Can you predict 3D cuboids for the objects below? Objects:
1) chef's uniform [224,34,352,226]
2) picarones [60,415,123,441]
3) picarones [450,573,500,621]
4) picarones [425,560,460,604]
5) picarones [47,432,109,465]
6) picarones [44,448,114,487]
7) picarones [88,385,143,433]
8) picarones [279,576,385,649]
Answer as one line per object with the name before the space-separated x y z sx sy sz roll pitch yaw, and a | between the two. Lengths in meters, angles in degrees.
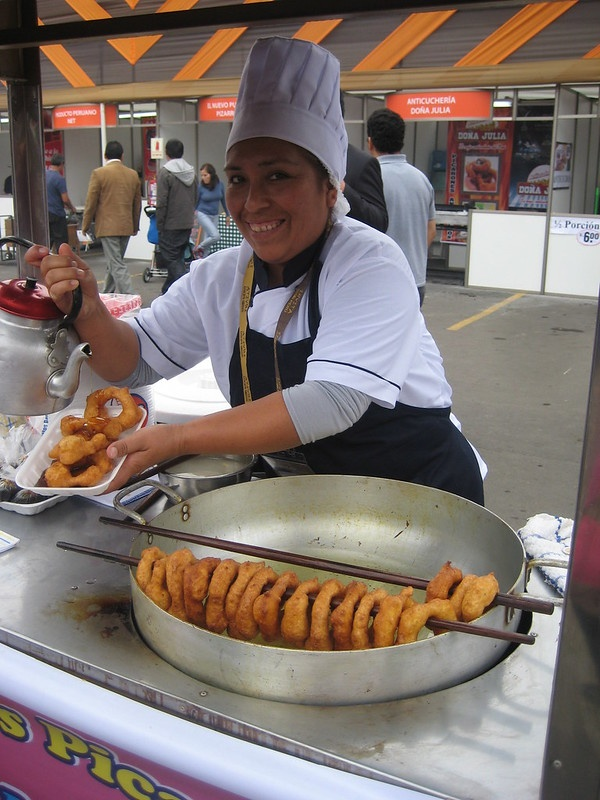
chef's uniform | -0.032 -0.605 1.486 0.320 0.279 0.253 -6 12 -41
picarones | -0.427 0.058 1.318 0.084 0.029 0.062 5 -6 -43
picarones | 0.237 0.259 0.933 0.071 0.068 0.026 -34 56 -32
picarones | 0.208 0.264 0.966 0.025 0.034 0.068 27 55 38
picarones | -0.423 0.087 1.278 0.102 0.044 0.059 -25 32 -17
picarones | -0.418 0.137 1.250 0.104 0.033 0.096 -14 20 -29
picarones | -0.385 0.026 1.392 0.106 0.098 0.034 5 -12 4
picarones | 0.039 0.281 0.949 0.108 0.040 0.117 6 4 10
